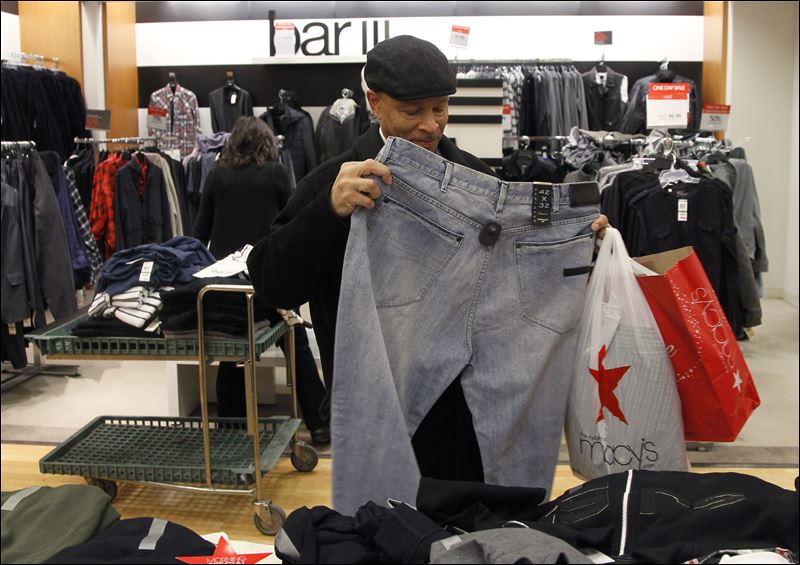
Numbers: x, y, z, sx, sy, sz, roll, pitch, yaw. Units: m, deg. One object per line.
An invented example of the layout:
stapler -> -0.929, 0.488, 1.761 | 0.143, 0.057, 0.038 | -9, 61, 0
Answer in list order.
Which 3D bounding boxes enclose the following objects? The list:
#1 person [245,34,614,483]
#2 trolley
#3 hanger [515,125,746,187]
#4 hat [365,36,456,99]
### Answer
person -> -0.121, -0.078, 2.111 | 0.755, 1.330, 0.424 | -1, 11, 5
trolley -> -1.077, 0.485, 3.370 | 1.174, 1.070, 0.828 | 2, 6, 4
hanger -> 1.638, -0.889, 4.704 | 1.413, 0.497, 1.072 | 2, 8, 13
hat -> 0.017, -0.656, 1.950 | 0.178, 0.107, 0.247 | -14, 31, -20
